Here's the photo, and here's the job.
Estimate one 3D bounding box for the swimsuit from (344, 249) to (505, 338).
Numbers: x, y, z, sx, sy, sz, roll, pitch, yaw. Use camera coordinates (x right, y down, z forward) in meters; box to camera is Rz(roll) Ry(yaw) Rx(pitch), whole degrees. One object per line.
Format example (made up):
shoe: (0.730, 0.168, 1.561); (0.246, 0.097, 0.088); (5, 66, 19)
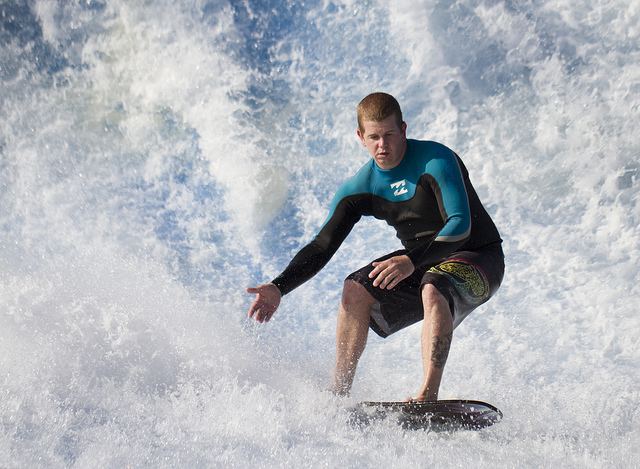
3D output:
swimsuit: (1.123, 0.525, 7.518); (1.135, 1.209, 1.573); (11, 16, 40)

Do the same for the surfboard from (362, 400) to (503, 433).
surfboard: (1.105, 1.781, 6.749); (1.437, 0.396, 0.221); (-2, 19, -2)
